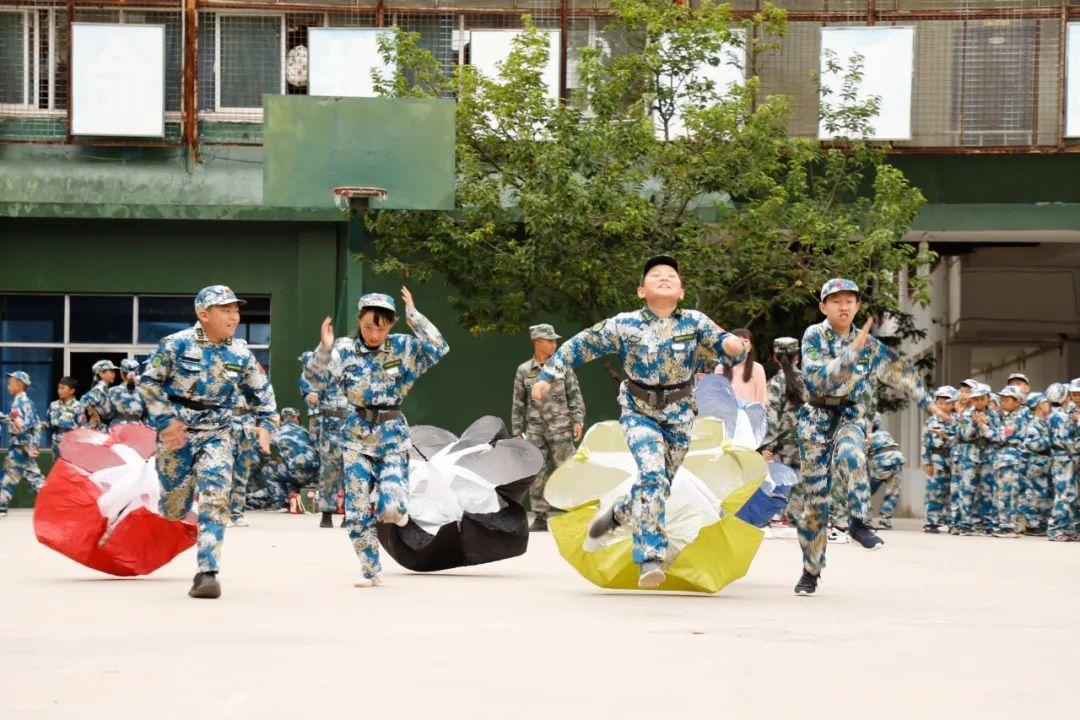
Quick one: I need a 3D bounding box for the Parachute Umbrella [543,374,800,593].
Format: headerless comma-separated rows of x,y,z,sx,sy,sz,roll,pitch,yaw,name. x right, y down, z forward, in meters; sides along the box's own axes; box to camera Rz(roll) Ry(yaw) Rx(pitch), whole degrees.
1.349,1.748,29.558,2.721,0.989,2.630,-7,-7,-15,Parachute Umbrella

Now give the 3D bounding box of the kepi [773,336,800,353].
3.628,-0.253,33.549,0.320,0.156,0.292,0,-1,-6,kepi

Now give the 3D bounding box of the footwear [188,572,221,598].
-4.037,2.676,27.942,0.387,0.318,0.291,-5,-9,15,footwear

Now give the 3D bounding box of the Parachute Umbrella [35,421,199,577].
-5.379,2.033,29.567,2.219,0.853,1.941,15,8,13,Parachute Umbrella

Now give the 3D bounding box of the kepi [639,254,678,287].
1.491,-1.142,27.968,0.392,0.322,0.317,1,5,4,kepi

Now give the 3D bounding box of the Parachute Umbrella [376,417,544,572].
-1.064,1.721,30.300,2.235,0.739,2.294,8,49,18,Parachute Umbrella

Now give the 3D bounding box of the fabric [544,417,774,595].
1.655,2.158,28.869,2.634,0.823,2.538,-3,11,12,fabric

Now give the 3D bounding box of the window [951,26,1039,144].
8.135,-4.863,40.439,1.602,2.274,0.228,6,10,37,window

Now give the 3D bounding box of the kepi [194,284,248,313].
-3.928,-0.785,28.211,0.357,0.273,0.455,4,6,29,kepi

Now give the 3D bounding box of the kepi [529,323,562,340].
0.072,-0.449,33.791,0.400,0.157,0.288,-1,-2,16,kepi

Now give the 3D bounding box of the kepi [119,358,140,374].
-6.731,0.051,37.925,0.272,0.133,0.368,4,3,-17,kepi

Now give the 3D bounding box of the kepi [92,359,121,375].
-7.205,0.062,38.222,0.515,0.168,0.311,-3,-1,-2,kepi

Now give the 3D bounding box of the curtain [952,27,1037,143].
8.046,-5.006,40.453,1.528,2.097,0.219,0,4,-12,curtain

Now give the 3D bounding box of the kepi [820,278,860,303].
3.713,-0.879,28.307,0.392,0.272,0.296,5,7,36,kepi

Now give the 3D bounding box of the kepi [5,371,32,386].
-8.966,0.254,39.681,0.297,0.104,0.191,20,8,4,kepi

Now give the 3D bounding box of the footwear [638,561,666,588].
1.353,2.556,27.651,0.257,0.252,0.375,6,-39,-8,footwear
